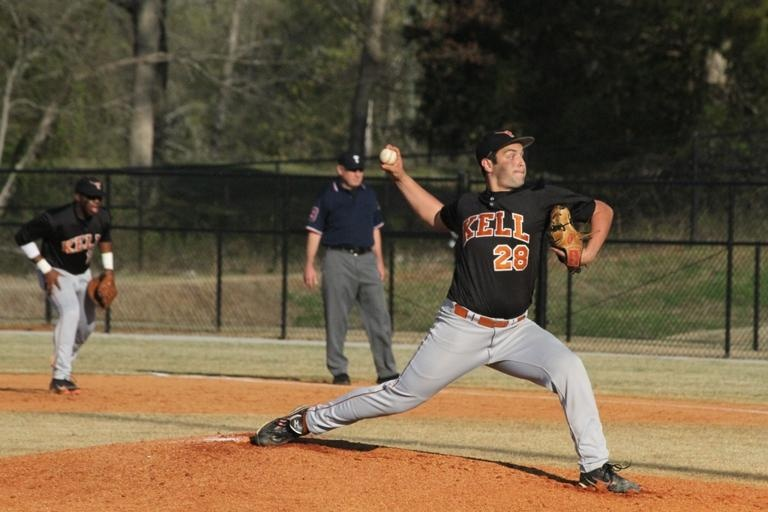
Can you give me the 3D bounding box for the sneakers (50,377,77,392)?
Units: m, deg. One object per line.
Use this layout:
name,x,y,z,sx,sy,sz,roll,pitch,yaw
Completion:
sneakers,-6.258,2.521,25.687,0.600,0.272,0.216,4,26,-14

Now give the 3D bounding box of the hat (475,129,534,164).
hat,2.098,-1.947,23.261,0.806,0.310,0.578,-21,5,16

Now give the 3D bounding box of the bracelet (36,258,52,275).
bracelet,-6.569,0.191,25.421,0.323,0.291,0.208,1,3,-10

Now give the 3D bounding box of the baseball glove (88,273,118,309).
baseball glove,-5.528,0.672,25.776,0.522,0.675,0.260,1,4,-8

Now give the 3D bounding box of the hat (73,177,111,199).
hat,-5.736,-1.314,25.573,0.500,0.421,0.430,1,3,-6
